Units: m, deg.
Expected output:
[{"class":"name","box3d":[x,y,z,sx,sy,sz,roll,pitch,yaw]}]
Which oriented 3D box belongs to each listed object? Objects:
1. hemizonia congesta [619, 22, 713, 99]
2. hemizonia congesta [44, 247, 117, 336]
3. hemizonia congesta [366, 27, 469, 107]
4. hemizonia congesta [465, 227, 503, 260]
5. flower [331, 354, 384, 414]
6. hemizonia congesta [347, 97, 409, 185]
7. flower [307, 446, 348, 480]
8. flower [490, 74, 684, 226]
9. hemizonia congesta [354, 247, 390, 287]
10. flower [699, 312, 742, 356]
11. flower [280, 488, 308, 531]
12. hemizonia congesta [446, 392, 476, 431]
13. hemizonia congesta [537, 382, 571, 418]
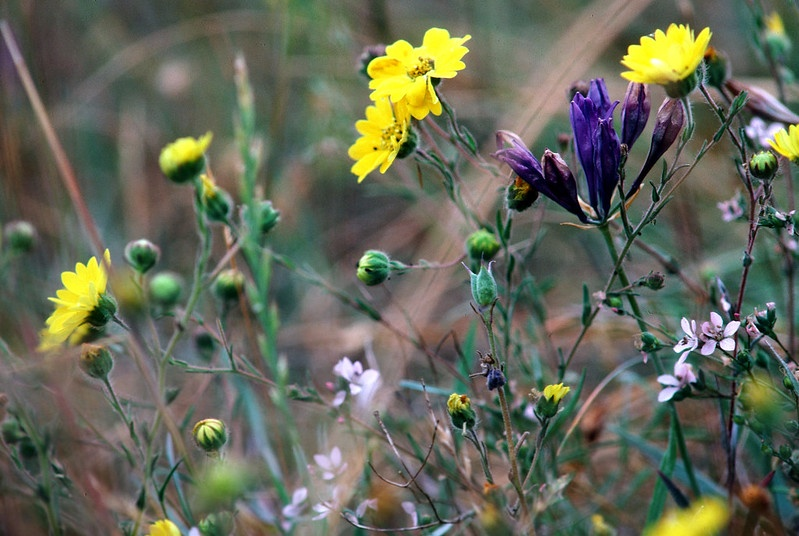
[{"class":"hemizonia congesta","box3d":[0.655,-0.512,2.177,0.180,0.101,0.207,-27,43,22]},{"class":"hemizonia congesta","box3d":[-0.811,0.081,2.308,0.179,0.091,0.228,150,142,-73]},{"class":"hemizonia congesta","box3d":[0.074,-0.544,2.359,0.230,0.087,0.299,0,1,-19]},{"class":"hemizonia congesta","box3d":[0.225,-0.061,2.428,0.072,0.084,0.059,-1,33,5]},{"class":"flower","box3d":[-0.114,0.326,2.461,0.124,0.073,0.159,-4,60,-10]},{"class":"hemizonia congesta","box3d":[-0.055,-0.350,2.340,0.189,0.157,0.187,-22,26,2]},{"class":"flower","box3d":[-0.197,0.538,2.425,0.081,0.046,0.102,18,76,12]},{"class":"flower","box3d":[0.499,-0.302,2.227,0.358,0.317,0.408,-37,3,26]},{"class":"hemizonia congesta","box3d":[-0.078,-0.001,2.413,0.082,0.087,0.079,0,-18,-26]},{"class":"flower","box3d":[0.807,0.173,2.235,0.100,0.039,0.125,-6,39,13]},{"class":"flower","box3d":[-0.284,0.664,2.453,0.056,0.023,0.152,20,88,31]},{"class":"hemizonia congesta","box3d":[0.149,0.348,2.238,0.046,0.070,0.039,-3,63,-12]},{"class":"hemizonia congesta","box3d":[0.379,0.335,2.214,0.056,0.106,0.053,16,13,7]}]
